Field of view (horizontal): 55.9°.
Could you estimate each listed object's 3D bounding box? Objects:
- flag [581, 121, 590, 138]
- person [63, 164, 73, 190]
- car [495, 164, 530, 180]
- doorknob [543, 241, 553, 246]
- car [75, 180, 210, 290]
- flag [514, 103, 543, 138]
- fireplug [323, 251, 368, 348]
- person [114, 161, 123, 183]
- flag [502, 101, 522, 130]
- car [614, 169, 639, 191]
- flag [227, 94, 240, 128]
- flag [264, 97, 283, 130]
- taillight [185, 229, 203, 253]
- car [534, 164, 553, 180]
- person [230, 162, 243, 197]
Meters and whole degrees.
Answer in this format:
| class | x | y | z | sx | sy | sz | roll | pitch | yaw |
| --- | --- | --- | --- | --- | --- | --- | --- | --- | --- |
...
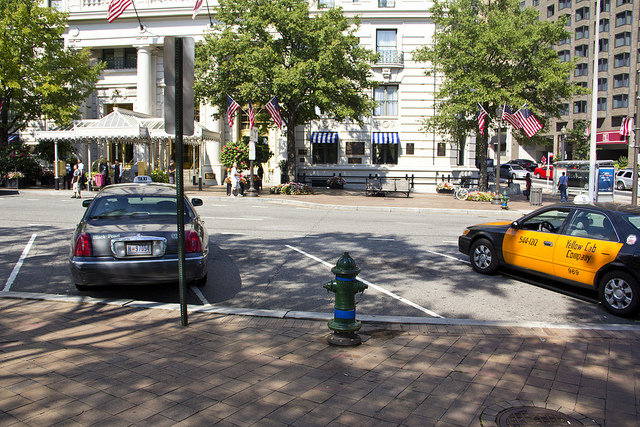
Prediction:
| class | x | y | z | sx | sy | sz | roll | pitch | yaw |
| --- | --- | --- | --- | --- | --- | --- | --- | --- | --- |
| flag | 29.466 | -9.162 | 66.220 | 0.733 | 1.787 | 3.120 | 0 | 8 | 16 |
| person | -15.574 | -2.246 | 37.102 | 0.617 | 1.412 | 1.929 | -5 | 8 | -22 |
| car | 18.657 | -3.896 | 57.734 | 2.283 | 1.380 | 5.563 | 0 | 7 | 13 |
| doorknob | 5.143 | 0.677 | 13.476 | 0.034 | 0.087 | 0.226 | -7 | 9 | -34 |
| car | -3.780 | 0.531 | 13.009 | 2.740 | 2.422 | 2.811 | -1 | 7 | 7 |
| flag | 11.064 | -4.928 | 31.664 | 0.138 | 1.573 | 1.711 | 4 | 44 | -55 |
| fireplug | 0.478 | 1.567 | 11.119 | 0.724 | 1.711 | 0.488 | -2 | 7 | 0 |
| person | -11.659 | -2.338 | 34.814 | 0.461 | 1.146 | 1.162 | -2 | 7 | -2 |
| flag | 10.187 | -5.168 | 31.580 | 0.190 | 1.092 | 1.418 | -31 | 21 | 28 |
| car | 24.852 | -2.682 | 48.834 | 0.677 | 1.568 | 1.989 | -1 | 7 | 3 |
| flag | -4.708 | -5.549 | 32.504 | 0.512 | 1.593 | 2.377 | -3 | 7 | -8 |
| flag | -2.394 | -5.202 | 31.470 | 0.699 | 1.506 | 1.569 | -2 | 7 | -2 |
| taillight | -2.632 | 0.578 | 12.594 | 0.335 | 0.456 | 0.319 | -3 | 7 | -12 |
| car | 21.608 | -4.023 | 59.103 | 2.488 | 1.121 | 1.288 | -4 | 8 | 6 |
| person | -4.397 | -1.731 | 31.514 | 0.656 | 1.661 | 1.131 | -3 | 7 | -8 |
